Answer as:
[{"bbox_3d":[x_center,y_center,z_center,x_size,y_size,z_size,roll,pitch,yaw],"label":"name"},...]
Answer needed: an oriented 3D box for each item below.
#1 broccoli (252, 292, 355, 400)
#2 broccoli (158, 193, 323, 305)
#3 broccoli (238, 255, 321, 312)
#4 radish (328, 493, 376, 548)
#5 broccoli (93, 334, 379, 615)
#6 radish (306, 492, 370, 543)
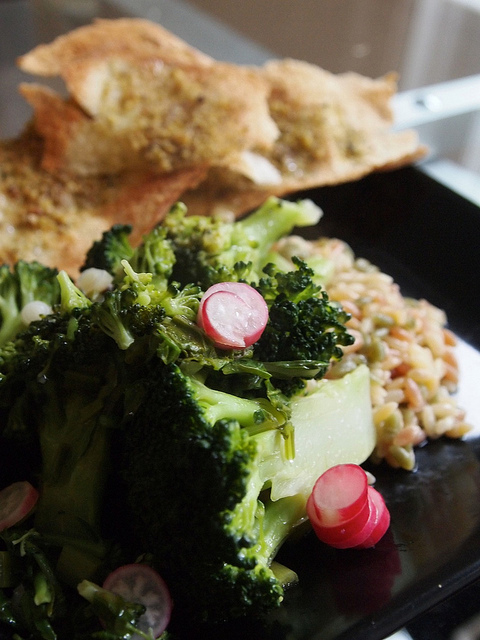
[{"bbox_3d":[0.082,0.038,1.134,0.132,0.162,0.207,-36,16,-20],"label":"broccoli"},{"bbox_3d":[0.033,-0.201,1.443,0.246,0.156,0.370,48,47,3],"label":"broccoli"},{"bbox_3d":[0.074,-0.066,1.158,0.161,0.124,0.108,-16,10,-6],"label":"broccoli"},{"bbox_3d":[0.173,0.342,1.091,0.087,0.089,0.057,-23,67,-19],"label":"radish"},{"bbox_3d":[-0.004,0.204,1.062,0.391,0.366,0.449,23,30,17],"label":"broccoli"},{"bbox_3d":[0.177,0.334,1.094,0.138,0.070,0.105,5,12,11],"label":"radish"}]
